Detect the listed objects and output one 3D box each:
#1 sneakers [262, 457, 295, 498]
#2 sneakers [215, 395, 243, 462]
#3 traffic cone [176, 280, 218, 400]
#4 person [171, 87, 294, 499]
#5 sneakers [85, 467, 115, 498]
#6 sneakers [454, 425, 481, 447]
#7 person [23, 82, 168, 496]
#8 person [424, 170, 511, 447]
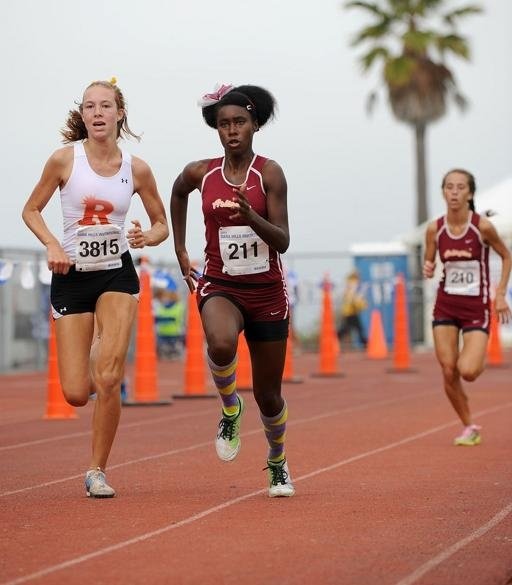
[{"bbox_3d":[0.122,0.982,4.451,0.133,0.171,0.387,-7,1,1],"label":"sneakers"},{"bbox_3d":[-0.171,0.725,4.383,0.128,0.382,0.161,4,5,12],"label":"sneakers"},{"bbox_3d":[-0.827,0.717,10.890,0.584,1.335,0.557,4,-18,-13],"label":"traffic cone"},{"bbox_3d":[-0.112,0.005,4.212,0.566,2.148,1.021,-3,3,-7],"label":"person"},{"bbox_3d":[-0.823,1.002,4.381,0.128,0.143,0.207,-4,4,-33],"label":"sneakers"},{"bbox_3d":[1.555,1.053,6.142,0.179,0.169,0.120,-5,3,11],"label":"sneakers"},{"bbox_3d":[-0.842,-0.052,4.550,0.766,2.207,0.585,-4,3,-23],"label":"person"},{"bbox_3d":[1.594,0.114,6.283,0.643,2.096,0.685,-2,3,11],"label":"person"}]
